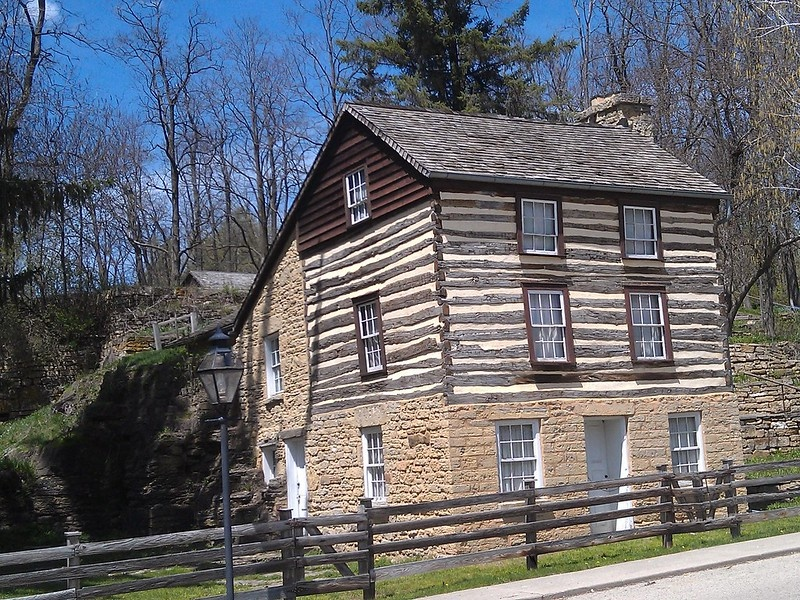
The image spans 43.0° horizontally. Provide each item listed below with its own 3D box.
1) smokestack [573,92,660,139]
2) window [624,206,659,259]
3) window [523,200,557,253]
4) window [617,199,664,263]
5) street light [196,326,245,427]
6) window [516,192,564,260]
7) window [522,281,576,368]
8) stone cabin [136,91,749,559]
[{"bbox_3d":[6.802,-5.951,33.139,2.581,1.755,1.528,-8,-4,-35],"label":"smokestack"},{"bbox_3d":[6.661,-1.841,28.087,1.303,1.741,0.113,7,-18,-23],"label":"window"},{"bbox_3d":[3.676,-1.920,26.965,1.316,1.603,0.123,6,-15,-30],"label":"window"},{"bbox_3d":[6.583,-1.862,28.020,1.594,1.944,0.148,8,-18,-26],"label":"window"},{"bbox_3d":[-3.468,1.428,19.721,0.780,1.827,0.749,2,-12,-28],"label":"street light"},{"bbox_3d":[3.662,-1.920,26.895,1.697,1.978,0.156,6,-14,-28],"label":"window"},{"bbox_3d":[3.880,0.708,26.442,1.338,2.148,0.240,0,-11,-22],"label":"window"},{"bbox_3d":[1.672,0.266,32.398,10.345,10.425,14.331,0,-5,-30],"label":"stone cabin"}]
